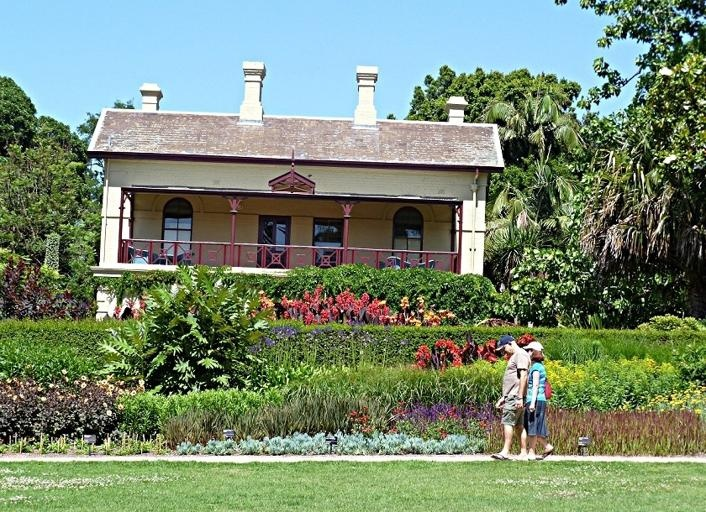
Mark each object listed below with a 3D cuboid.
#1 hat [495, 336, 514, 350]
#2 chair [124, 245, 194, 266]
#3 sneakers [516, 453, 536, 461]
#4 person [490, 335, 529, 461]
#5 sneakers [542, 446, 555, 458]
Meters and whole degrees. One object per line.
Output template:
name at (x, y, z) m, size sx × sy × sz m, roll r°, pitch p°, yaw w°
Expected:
hat at (3.250, 1.910, 30.732) m, size 0.409 × 0.270 × 0.317 m, roll -12°, pitch 1°, yaw 3°
chair at (-5.968, 0.027, 43.981) m, size 1.947 × 0.780 × 1.397 m, roll 3°, pitch -11°, yaw -8°
sneakers at (3.635, 4.256, 30.241) m, size 0.456 × 0.231 × 0.170 m, roll 6°, pitch -7°, yaw -1°
person at (3.375, 3.008, 30.382) m, size 0.467 × 2.620 × 0.832 m, roll 10°, pitch -13°, yaw -43°
sneakers at (4.140, 4.155, 30.456) m, size 0.232 × 0.256 × 0.355 m, roll 0°, pitch -11°, yaw 4°
